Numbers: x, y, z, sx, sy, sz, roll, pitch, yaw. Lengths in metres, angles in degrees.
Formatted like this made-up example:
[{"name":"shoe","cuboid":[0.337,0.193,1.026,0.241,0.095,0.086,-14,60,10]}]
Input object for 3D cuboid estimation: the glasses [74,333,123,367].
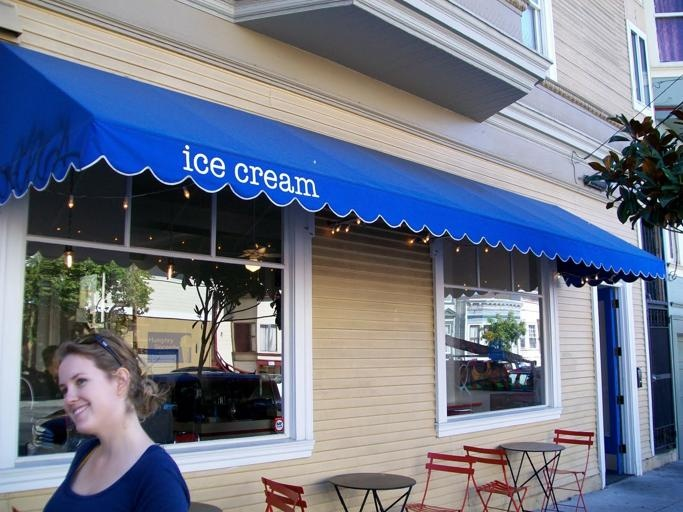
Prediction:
[{"name":"glasses","cuboid":[-1.514,0.597,3.974,0.196,0.064,0.233,-16,-57,24]}]
